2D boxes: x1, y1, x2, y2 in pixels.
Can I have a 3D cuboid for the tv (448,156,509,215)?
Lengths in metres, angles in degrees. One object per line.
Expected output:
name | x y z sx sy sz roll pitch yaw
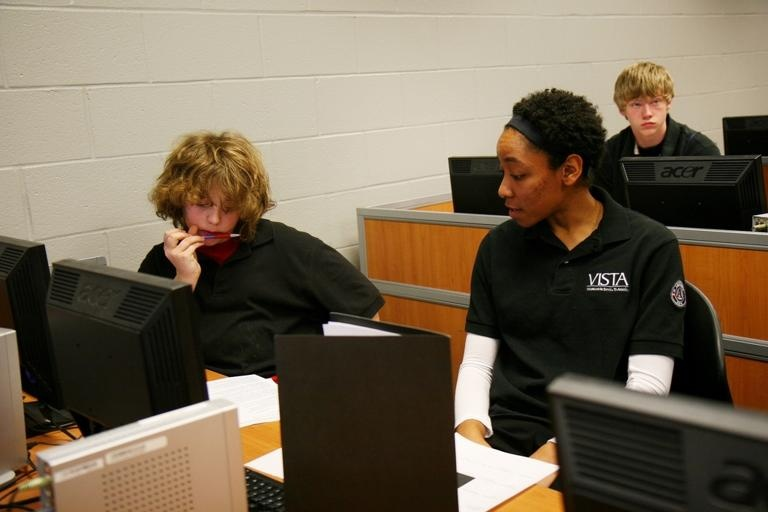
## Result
tv | 0.432 -0.321 2.613 0.325 0.332 0.176 2 10 25

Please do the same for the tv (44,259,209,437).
tv | -0.561 0.205 1.206 0.391 0.386 0.142 12 23 33

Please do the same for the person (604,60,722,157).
person | 1.503 -0.728 3.172 0.377 0.609 0.715 -17 16 -41

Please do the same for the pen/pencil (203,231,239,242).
pen/pencil | -0.536 -0.063 1.863 0.167 0.024 0.024 1 -26 -7
